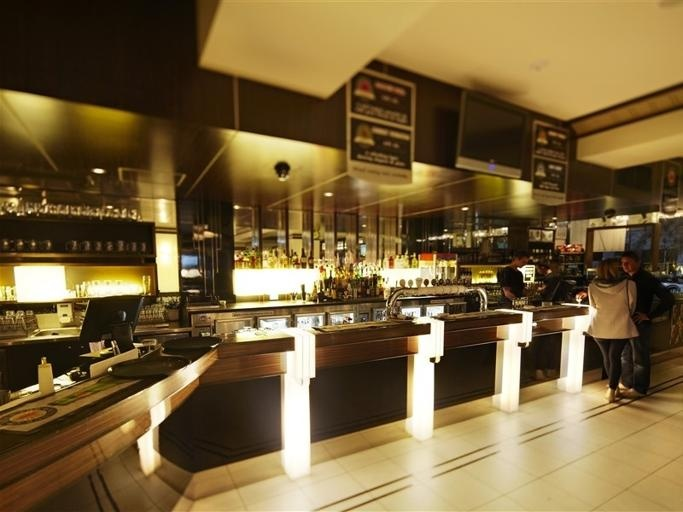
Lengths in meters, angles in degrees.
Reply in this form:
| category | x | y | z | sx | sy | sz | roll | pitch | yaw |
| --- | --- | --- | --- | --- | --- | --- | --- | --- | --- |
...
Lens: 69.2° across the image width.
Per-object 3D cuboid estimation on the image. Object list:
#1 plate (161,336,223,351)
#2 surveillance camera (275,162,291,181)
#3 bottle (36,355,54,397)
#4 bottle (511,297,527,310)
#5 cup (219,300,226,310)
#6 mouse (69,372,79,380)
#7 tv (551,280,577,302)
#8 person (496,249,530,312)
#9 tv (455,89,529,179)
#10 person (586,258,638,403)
| category | x | y | z | sx | sy | sz | roll | pitch | yaw |
| --- | --- | --- | --- | --- | --- | --- | --- | --- | --- |
| plate | -1.336 | 0.787 | 4.462 | 0.270 | 0.031 | 0.284 | 2 | 2 | 40 |
| surveillance camera | -0.641 | -0.919 | 5.372 | 0.157 | 0.178 | 0.173 | 3 | 4 | 24 |
| bottle | -2.237 | 0.891 | 3.721 | 0.093 | 0.257 | 0.196 | -4 | -1 | -33 |
| bottle | 2.238 | 0.586 | 6.164 | 0.159 | 0.151 | 0.332 | -5 | -1 | 25 |
| cup | -1.730 | 0.708 | 7.186 | 0.107 | 0.150 | 0.111 | 3 | 7 | 0 |
| mouse | -2.248 | 1.007 | 4.148 | 0.063 | 0.048 | 0.066 | -5 | -9 | 33 |
| tv | 3.539 | 0.552 | 7.848 | 0.495 | 0.466 | 0.259 | 9 | -7 | -35 |
| person | 2.503 | 0.329 | 7.272 | 0.380 | 0.831 | 0.757 | -5 | -1 | 34 |
| tv | 1.646 | -1.384 | 5.478 | 0.843 | 0.584 | 0.111 | 11 | 1 | -34 |
| person | 3.365 | 0.894 | 6.113 | 0.565 | 1.822 | 0.410 | -4 | 0 | 28 |
